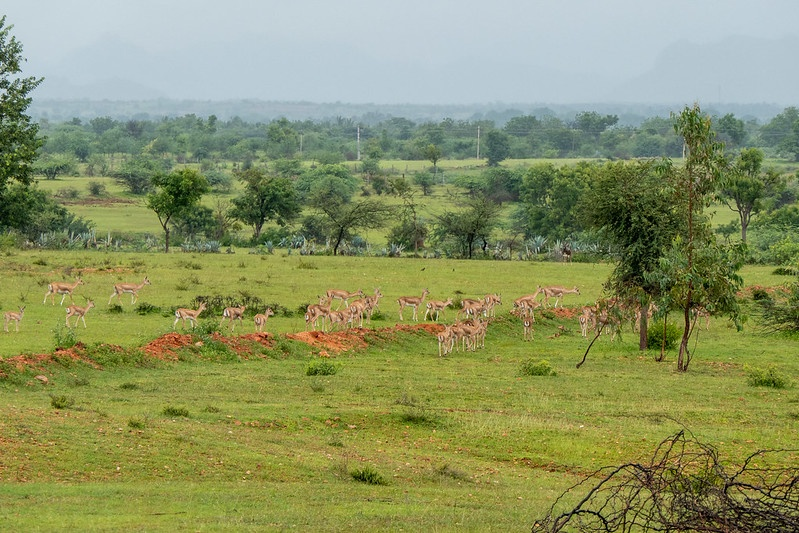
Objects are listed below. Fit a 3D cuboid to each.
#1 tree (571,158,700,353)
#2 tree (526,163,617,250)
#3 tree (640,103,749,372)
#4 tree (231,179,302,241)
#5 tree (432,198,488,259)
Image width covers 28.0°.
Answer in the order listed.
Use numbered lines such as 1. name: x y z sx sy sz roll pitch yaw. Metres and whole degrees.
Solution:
1. tree: 19.150 -3.230 133.248 11.901 16.420 10.070 -1 3 21
2. tree: 19.060 -6.249 188.457 10.202 12.794 9.327 3 14 23
3. tree: 23.063 -2.083 123.712 6.096 20.395 5.901 2 4 8
4. tree: -14.753 -5.798 175.312 6.891 6.312 7.002 12 25 16
5. tree: 6.965 -3.547 168.045 6.694 6.923 5.778 5 22 15
